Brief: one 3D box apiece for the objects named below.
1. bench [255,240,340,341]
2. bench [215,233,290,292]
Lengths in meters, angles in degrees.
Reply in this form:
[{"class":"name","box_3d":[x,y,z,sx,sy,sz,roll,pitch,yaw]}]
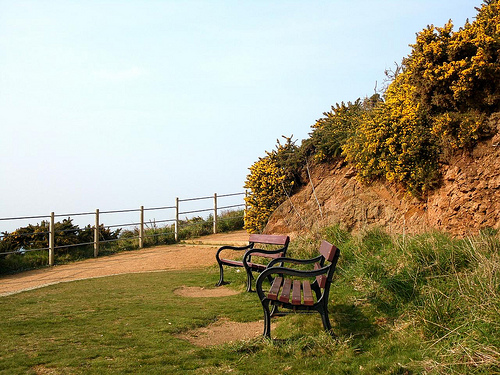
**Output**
[{"class":"bench","box_3d":[0.898,1.870,10.718,1.392,1.672,1.877,-1,0,3]},{"class":"bench","box_3d":[-0.039,1.729,12.914,0.926,1.453,2.026,8,-6,-21]}]
